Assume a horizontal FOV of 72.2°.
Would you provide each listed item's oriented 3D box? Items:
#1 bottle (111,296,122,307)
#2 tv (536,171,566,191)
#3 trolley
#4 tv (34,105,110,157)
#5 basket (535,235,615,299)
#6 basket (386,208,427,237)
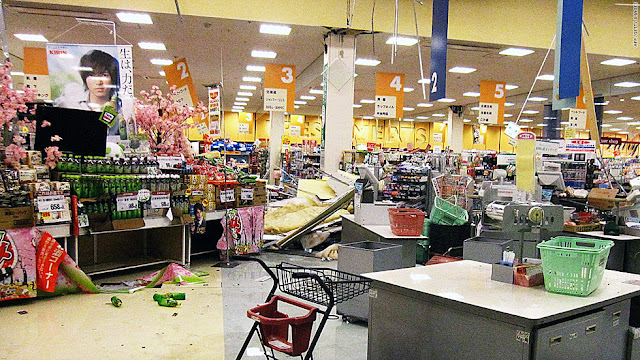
[{"bbox_3d":[-2.925,1.760,6.310,0.100,0.079,0.185,19,-2,-31],"label":"bottle"},{"bbox_3d":[4.868,0.010,9.231,0.531,0.454,0.113,1,-3,8],"label":"tv"},{"bbox_3d":[0.054,1.118,5.471,1.792,1.126,1.177,-18,22,-40],"label":"trolley"},{"bbox_3d":[-3.992,-0.773,6.984,0.983,0.595,0.128,2,4,-26],"label":"tv"},{"bbox_3d":[2.898,0.930,4.938,0.654,0.409,0.847,-1,0,36],"label":"basket"},{"bbox_3d":[1.378,0.694,6.891,0.530,0.327,0.683,2,-4,0],"label":"basket"}]
